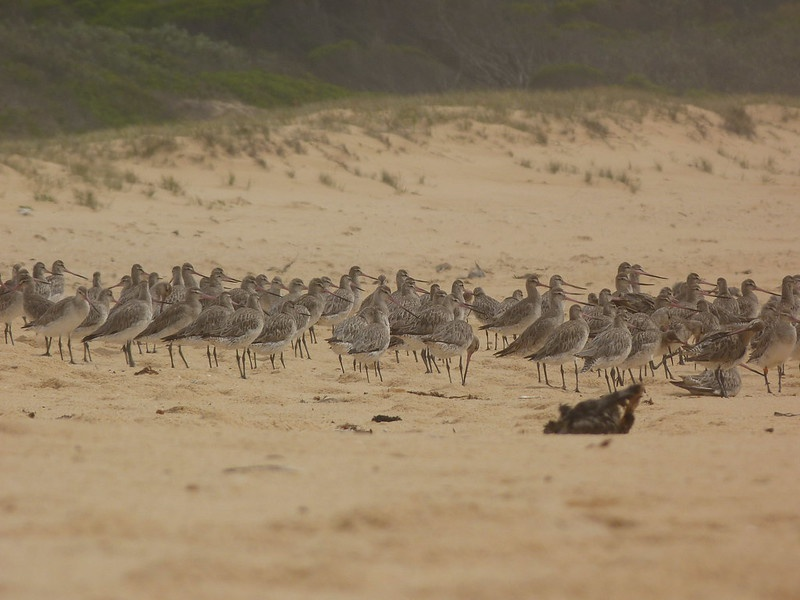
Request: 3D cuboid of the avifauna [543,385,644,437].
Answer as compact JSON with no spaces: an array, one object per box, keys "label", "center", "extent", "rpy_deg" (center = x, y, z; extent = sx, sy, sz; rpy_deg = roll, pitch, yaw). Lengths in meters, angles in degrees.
[{"label":"avifauna","center":[4.170,2.335,34.838],"extent":[1.851,1.113,0.560],"rpy_deg":[2,16,4]}]
